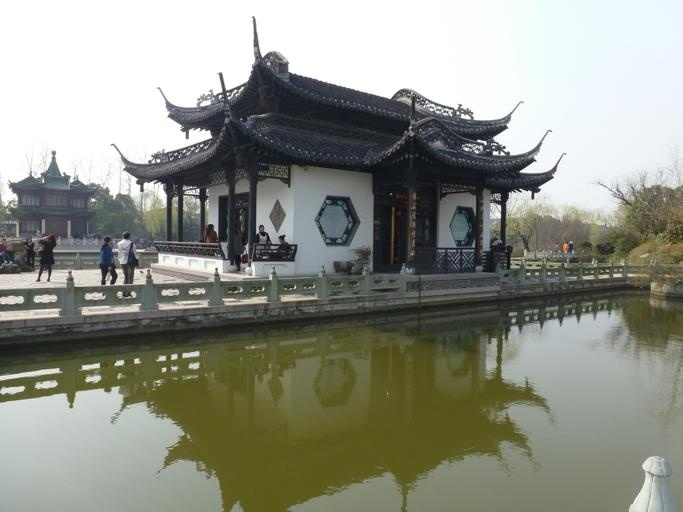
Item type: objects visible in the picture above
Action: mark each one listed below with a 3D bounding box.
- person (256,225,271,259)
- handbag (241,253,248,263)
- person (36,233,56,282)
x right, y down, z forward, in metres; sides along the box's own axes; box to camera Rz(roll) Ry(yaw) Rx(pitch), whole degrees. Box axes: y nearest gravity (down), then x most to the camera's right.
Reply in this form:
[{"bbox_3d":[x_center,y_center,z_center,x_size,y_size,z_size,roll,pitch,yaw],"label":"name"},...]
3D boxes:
[{"bbox_3d":[-2.271,-0.379,16.994,0.445,0.775,1.071,-2,16,-7],"label":"person"},{"bbox_3d":[-2.994,0.119,17.909,0.251,0.312,0.267,-3,-1,2],"label":"handbag"},{"bbox_3d":[-9.910,0.012,19.539,0.486,1.670,0.444,6,17,-36],"label":"person"}]
